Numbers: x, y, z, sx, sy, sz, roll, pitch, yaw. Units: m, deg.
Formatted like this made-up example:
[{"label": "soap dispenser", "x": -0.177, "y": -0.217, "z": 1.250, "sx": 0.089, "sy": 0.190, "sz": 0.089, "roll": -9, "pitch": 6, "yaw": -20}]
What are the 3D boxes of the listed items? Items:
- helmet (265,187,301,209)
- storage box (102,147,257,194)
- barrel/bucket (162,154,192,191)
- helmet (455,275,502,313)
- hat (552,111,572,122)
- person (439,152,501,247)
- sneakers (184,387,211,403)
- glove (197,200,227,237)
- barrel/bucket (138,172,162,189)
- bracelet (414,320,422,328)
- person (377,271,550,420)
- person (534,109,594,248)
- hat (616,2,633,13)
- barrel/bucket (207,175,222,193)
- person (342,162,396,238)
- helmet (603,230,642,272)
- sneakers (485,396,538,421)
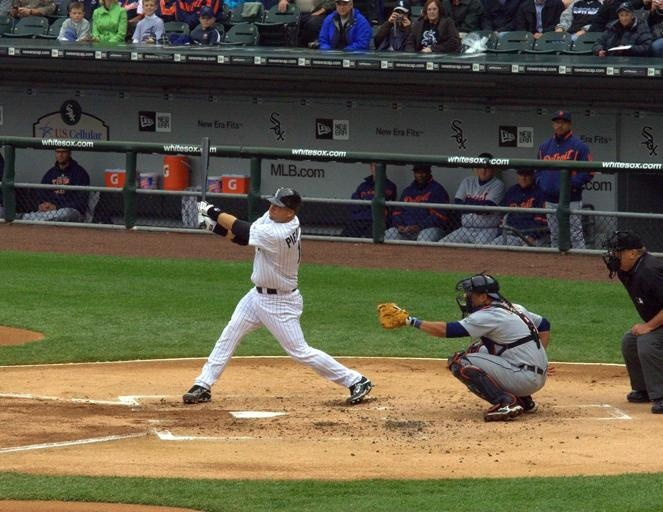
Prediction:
[{"label": "helmet", "x": -0.475, "y": -0.576, "z": 15.611, "sx": 0.348, "sy": 0.169, "sz": 0.238, "roll": 17, "pitch": 11, "yaw": -11}, {"label": "storage box", "x": -2.313, "y": -1.258, "z": 22.754, "sx": 1.855, "sy": 0.408, "sz": 1.033, "roll": 3, "pitch": 16, "yaw": 1}, {"label": "barrel/bucket", "x": -2.423, "y": -1.328, "z": 23.377, "sx": 0.585, "sy": 0.533, "sz": 0.543, "roll": 1, "pitch": 0, "yaw": 0}, {"label": "helmet", "x": 1.529, "y": 0.357, "z": 15.536, "sx": 0.517, "sy": 0.383, "sz": 0.349, "roll": 3, "pitch": 7, "yaw": 10}, {"label": "hat", "x": 3.206, "y": -1.946, "z": 20.679, "sx": 0.226, "sy": 0.157, "sz": 0.249, "roll": 1, "pitch": 1, "yaw": 4}, {"label": "person", "x": 2.020, "y": -0.812, "z": 21.094, "sx": 0.842, "sy": 1.258, "sz": 0.583, "roll": 1, "pitch": 1, "yaw": 5}, {"label": "sneakers", "x": -1.444, "y": 1.445, "z": 15.842, "sx": 0.303, "sy": 0.127, "sz": 0.140, "roll": 3, "pitch": 4, "yaw": 25}, {"label": "glove", "x": -1.268, "y": -0.382, "z": 15.792, "sx": 0.370, "sy": 0.135, "sz": 0.355, "roll": 22, "pitch": 35, "yaw": -10}, {"label": "barrel/bucket", "x": -2.820, "y": -1.193, "z": 23.290, "sx": 0.324, "sy": 0.204, "sz": 0.307, "roll": 0, "pitch": 2, "yaw": 0}, {"label": "bracelet", "x": 0.885, "y": 0.671, "z": 15.273, "sx": 0.088, "sy": 0.062, "sz": 0.077, "roll": -8, "pitch": 11, "yaw": -41}, {"label": "person", "x": 1.395, "y": 0.883, "z": 15.700, "sx": 1.990, "sy": 1.247, "sz": 1.137, "roll": 3, "pitch": 8, "yaw": -15}, {"label": "person", "x": 3.243, "y": -1.072, "z": 20.696, "sx": 0.781, "sy": 1.887, "sz": 0.512, "roll": 1, "pitch": 1, "yaw": 12}, {"label": "hat", "x": 4.238, "y": -3.563, "z": 21.376, "sx": 0.205, "sy": 0.101, "sz": 0.307, "roll": 3, "pitch": 6, "yaw": 28}, {"label": "barrel/bucket", "x": -1.784, "y": -1.126, "z": 22.904, "sx": 0.285, "sy": 0.307, "sz": 0.262, "roll": 1, "pitch": 2, "yaw": 0}, {"label": "person", "x": 0.635, "y": -0.762, "z": 21.719, "sx": 0.485, "sy": 1.086, "sz": 0.710, "roll": 13, "pitch": 10, "yaw": -47}, {"label": "helmet", "x": 3.038, "y": -0.112, "z": 15.835, "sx": 0.493, "sy": 0.437, "sz": 0.365, "roll": 9, "pitch": 11, "yaw": 10}, {"label": "sneakers", "x": 1.898, "y": 1.558, "z": 15.472, "sx": 0.564, "sy": 0.234, "sz": 0.202, "roll": -7, "pitch": -2, "yaw": -15}]
